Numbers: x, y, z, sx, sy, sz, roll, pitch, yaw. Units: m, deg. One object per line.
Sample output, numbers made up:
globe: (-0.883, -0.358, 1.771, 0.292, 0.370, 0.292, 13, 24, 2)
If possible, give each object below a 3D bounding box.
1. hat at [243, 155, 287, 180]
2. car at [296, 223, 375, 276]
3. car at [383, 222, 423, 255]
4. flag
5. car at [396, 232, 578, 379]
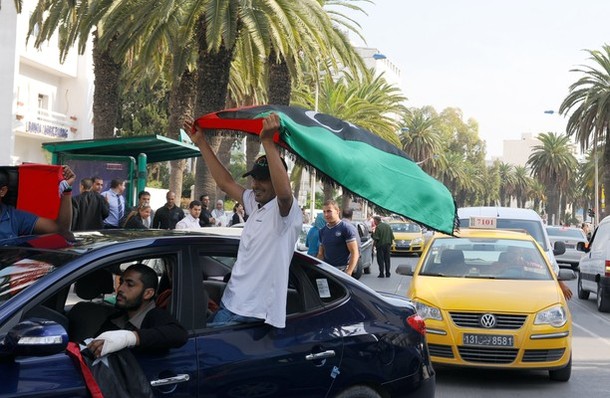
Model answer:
hat: (-0.356, -0.305, 4.671, 0.199, 0.173, 0.301, -12, 0, 38)
car: (1.537, 1.758, 18.577, 1.494, 1.421, 2.583, 0, 2, 18)
car: (5.020, 1.937, 26.979, 2.036, 1.645, 4.680, 0, -3, 9)
flag: (0.345, -0.064, 4.610, 1.598, 0.459, 1.149, 22, -5, -14)
car: (2.581, 1.319, 7.619, 1.725, 1.412, 3.032, 0, -11, 8)
